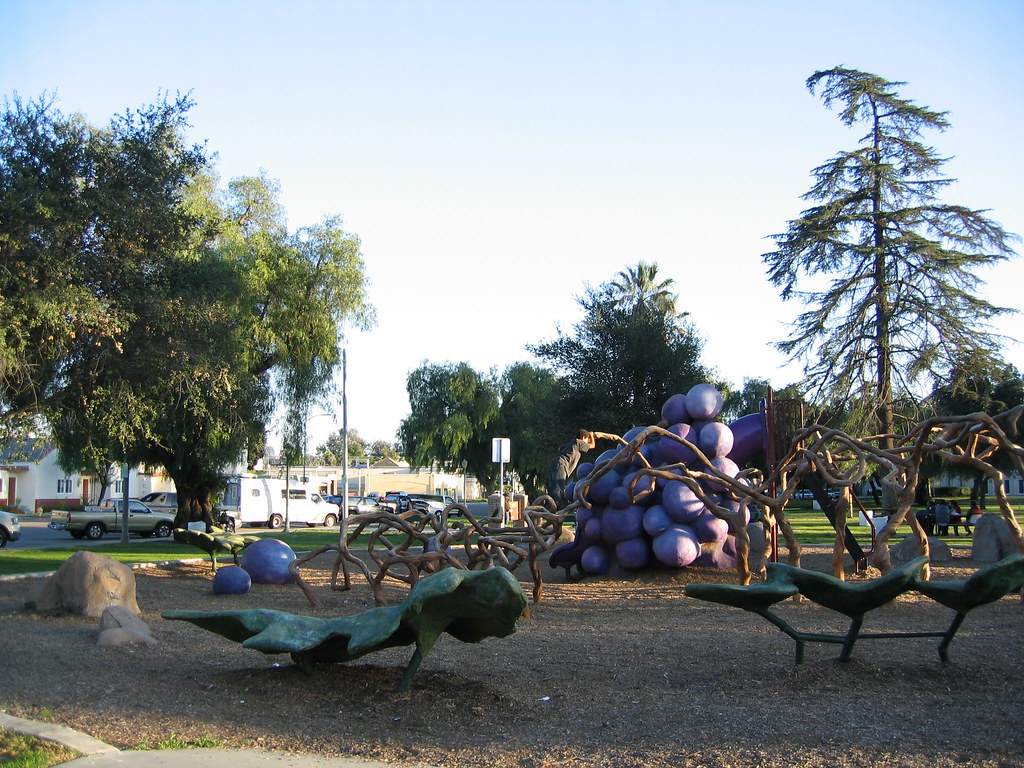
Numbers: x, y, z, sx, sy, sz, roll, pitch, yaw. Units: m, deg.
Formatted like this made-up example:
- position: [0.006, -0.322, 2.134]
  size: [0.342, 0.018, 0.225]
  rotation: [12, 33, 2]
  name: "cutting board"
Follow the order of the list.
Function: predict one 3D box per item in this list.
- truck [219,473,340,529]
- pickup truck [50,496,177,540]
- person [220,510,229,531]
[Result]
- position: [-9.851, 4.953, 46.908]
  size: [1.560, 2.523, 6.862]
  rotation: [-1, -2, 20]
  name: "truck"
- position: [-13.986, 4.744, 38.438]
  size: [4.667, 1.878, 2.165]
  rotation: [0, -2, -31]
  name: "pickup truck"
- position: [-11.484, 5.442, 44.072]
  size: [0.478, 0.654, 0.934]
  rotation: [1, 7, -10]
  name: "person"
